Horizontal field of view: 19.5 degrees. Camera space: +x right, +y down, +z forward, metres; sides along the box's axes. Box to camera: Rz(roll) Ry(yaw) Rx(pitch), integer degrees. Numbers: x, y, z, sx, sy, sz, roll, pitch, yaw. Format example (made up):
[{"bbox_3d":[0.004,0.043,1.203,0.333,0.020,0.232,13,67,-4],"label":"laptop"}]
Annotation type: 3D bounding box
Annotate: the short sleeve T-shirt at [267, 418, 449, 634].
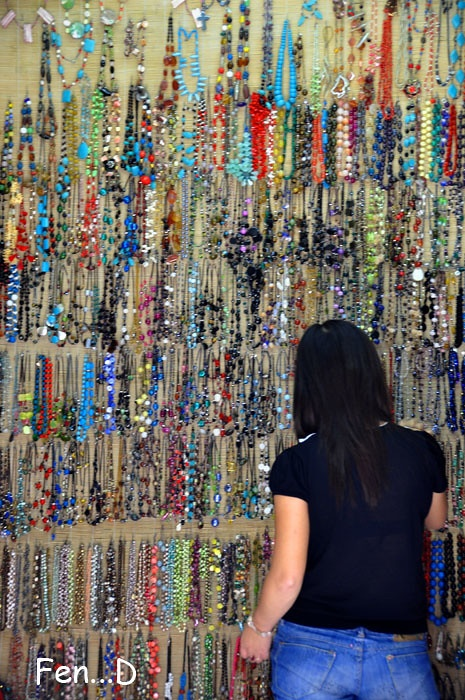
[{"bbox_3d":[0.398,0.575,4.320,0.738,0.803,0.400,0,-3,0],"label":"short sleeve T-shirt"}]
